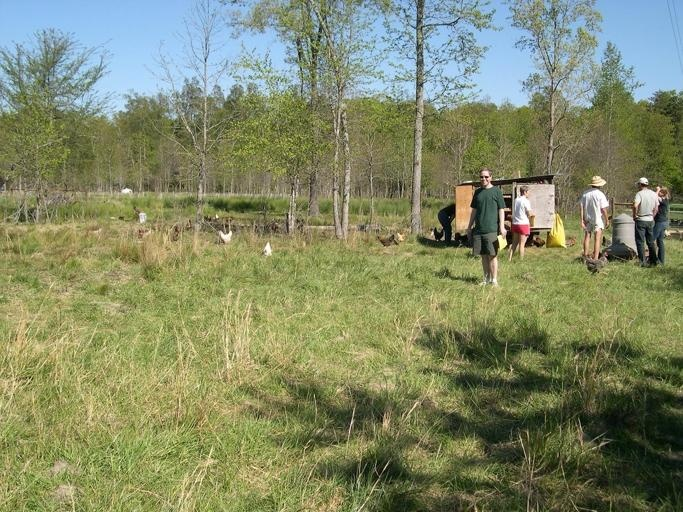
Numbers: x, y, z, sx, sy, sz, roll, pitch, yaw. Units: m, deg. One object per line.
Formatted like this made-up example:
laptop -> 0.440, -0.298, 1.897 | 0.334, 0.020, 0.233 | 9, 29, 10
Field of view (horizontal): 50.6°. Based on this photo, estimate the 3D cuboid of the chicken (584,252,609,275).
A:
chicken -> 5.761, 0.245, 16.421 | 0.430, 0.300, 0.845 | 1, 1, 21

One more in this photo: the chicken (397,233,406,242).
chicken -> 1.815, -0.533, 22.205 | 0.134, 0.378, 0.500 | -5, 6, 12

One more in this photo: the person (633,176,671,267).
person -> 7.262, -0.766, 17.079 | 1.223, 1.681, 0.514 | 0, 1, -43

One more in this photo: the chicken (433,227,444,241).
chicken -> 3.060, -0.663, 22.987 | 0.210, 0.459, 0.650 | -7, 18, 12

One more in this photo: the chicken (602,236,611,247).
chicken -> 7.540, -0.385, 20.615 | 0.210, 0.330, 0.303 | 1, 20, 10

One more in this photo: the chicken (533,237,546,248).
chicken -> 5.779, -0.315, 21.127 | 0.091, 0.337, 0.259 | 38, 9, -43

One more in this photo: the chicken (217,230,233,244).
chicken -> -3.259, -0.487, 20.256 | 0.336, 0.322, 0.741 | 1, 1, -8

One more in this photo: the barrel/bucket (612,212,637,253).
barrel/bucket -> 7.292, -0.592, 18.684 | 0.758, 0.985, 0.795 | -1, 1, 0

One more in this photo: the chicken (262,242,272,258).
chicken -> -1.907, -0.119, 18.164 | 0.200, 0.391, 0.533 | -1, -4, -7

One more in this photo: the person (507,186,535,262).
person -> 4.499, -0.810, 18.243 | 0.556, 1.276, 1.679 | 1, 1, 13

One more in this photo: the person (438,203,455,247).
person -> 3.271, -0.991, 22.529 | 0.522, 1.220, 1.483 | 1, 1, 8

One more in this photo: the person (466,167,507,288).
person -> 2.958, -0.571, 14.765 | 0.732, 1.573, 1.273 | 1, 1, 10
